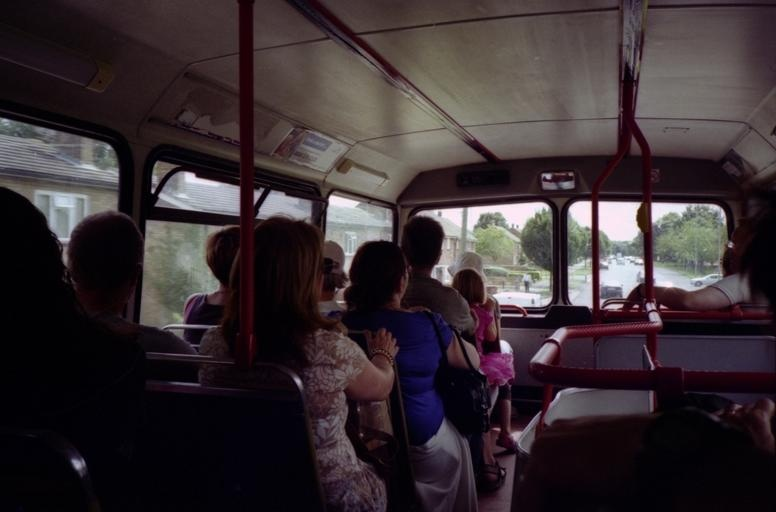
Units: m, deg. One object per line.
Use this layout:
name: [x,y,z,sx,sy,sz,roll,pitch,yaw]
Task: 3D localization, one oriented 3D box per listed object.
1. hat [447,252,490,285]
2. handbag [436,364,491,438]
hat: [0.769,0.105,5.330,0.283,0.209,0.362,2,4,-3]
handbag: [0.439,0.875,3.465,0.209,0.287,0.368,-21,-32,4]
